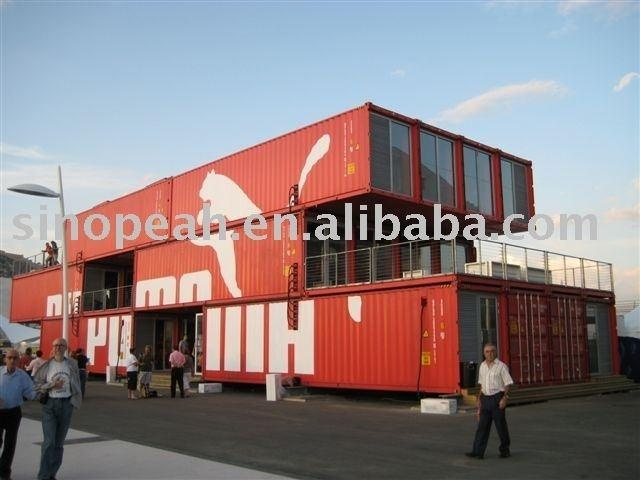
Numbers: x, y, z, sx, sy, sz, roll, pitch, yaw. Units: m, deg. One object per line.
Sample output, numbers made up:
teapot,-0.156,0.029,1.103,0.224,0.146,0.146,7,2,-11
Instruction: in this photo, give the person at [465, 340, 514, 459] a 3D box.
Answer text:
person,3.373,3.140,11.095,0.813,2.146,0.957,-4,-11,18
